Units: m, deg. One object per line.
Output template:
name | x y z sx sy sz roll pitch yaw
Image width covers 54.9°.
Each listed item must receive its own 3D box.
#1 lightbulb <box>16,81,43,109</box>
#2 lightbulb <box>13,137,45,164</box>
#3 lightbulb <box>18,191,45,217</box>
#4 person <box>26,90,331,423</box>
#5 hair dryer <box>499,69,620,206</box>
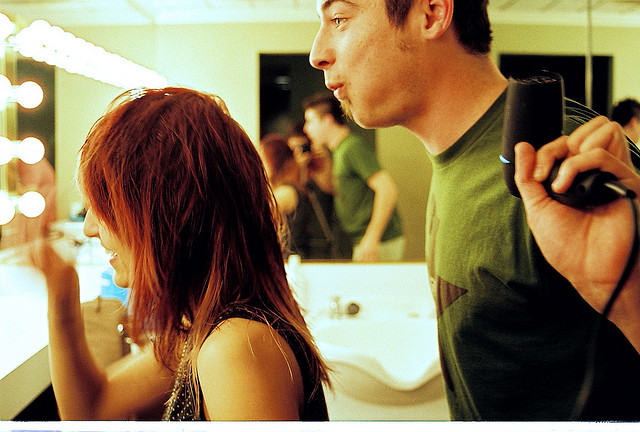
lightbulb | -0.775 -0.324 1.635 0.062 0.067 0.047 -7 12 -25
lightbulb | -0.786 -0.174 1.668 0.059 0.073 0.068 -3 11 -4
lightbulb | -0.782 -0.031 1.661 0.062 0.072 0.063 0 6 1
person | -0.279 0.062 1.773 0.800 1.144 0.627 -1 3 0
hair dryer | 0.502 -0.164 1.283 0.227 0.271 0.093 7 14 39
